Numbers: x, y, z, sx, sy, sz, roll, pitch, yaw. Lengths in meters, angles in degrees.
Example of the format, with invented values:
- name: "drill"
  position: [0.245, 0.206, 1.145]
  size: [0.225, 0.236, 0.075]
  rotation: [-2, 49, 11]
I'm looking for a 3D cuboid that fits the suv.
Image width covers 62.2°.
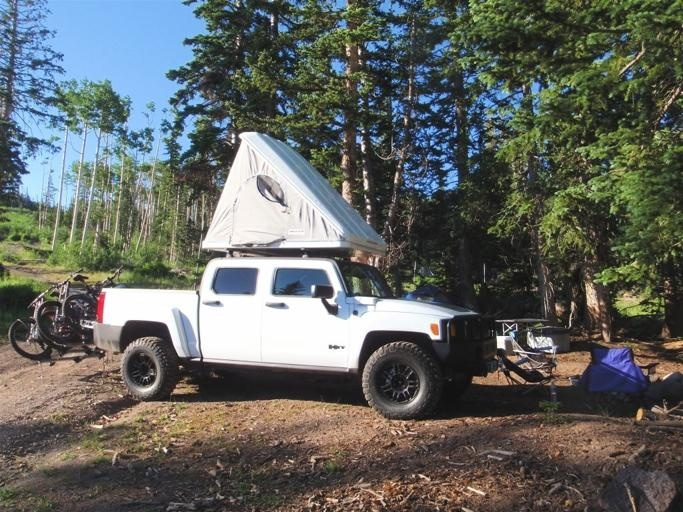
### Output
- name: "suv"
  position: [-0.797, 1.315, 10.779]
  size: [5.698, 2.344, 3.073]
  rotation: [-2, -5, 18]

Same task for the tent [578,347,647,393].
- name: "tent"
  position: [4.816, 1.957, 9.962]
  size: [1.011, 0.541, 1.335]
  rotation: [2, 4, 23]

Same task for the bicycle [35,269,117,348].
- name: "bicycle"
  position: [-6.566, 1.319, 13.866]
  size: [1.923, 1.202, 1.111]
  rotation: [-27, -4, -2]

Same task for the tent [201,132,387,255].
- name: "tent"
  position: [-0.811, -1.265, 11.622]
  size: [3.515, 2.259, 3.382]
  rotation: [3, -1, 14]

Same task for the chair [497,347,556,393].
- name: "chair"
  position: [3.631, 2.294, 11.059]
  size: [1.160, 0.777, 0.461]
  rotation: [-9, 9, 8]

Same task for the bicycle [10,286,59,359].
- name: "bicycle"
  position: [-7.646, 1.625, 13.876]
  size: [0.930, 1.586, 2.073]
  rotation: [-9, 11, -31]

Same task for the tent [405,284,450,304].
- name: "tent"
  position: [2.305, 1.044, 15.431]
  size: [1.089, 0.441, 0.788]
  rotation: [2, 1, -25]

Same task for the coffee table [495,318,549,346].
- name: "coffee table"
  position: [5.310, 2.136, 16.968]
  size: [1.348, 0.981, 1.309]
  rotation: [-7, -8, 36]

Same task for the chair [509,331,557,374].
- name: "chair"
  position: [4.248, 2.141, 12.354]
  size: [0.807, 1.080, 0.988]
  rotation: [-5, -1, -42]
